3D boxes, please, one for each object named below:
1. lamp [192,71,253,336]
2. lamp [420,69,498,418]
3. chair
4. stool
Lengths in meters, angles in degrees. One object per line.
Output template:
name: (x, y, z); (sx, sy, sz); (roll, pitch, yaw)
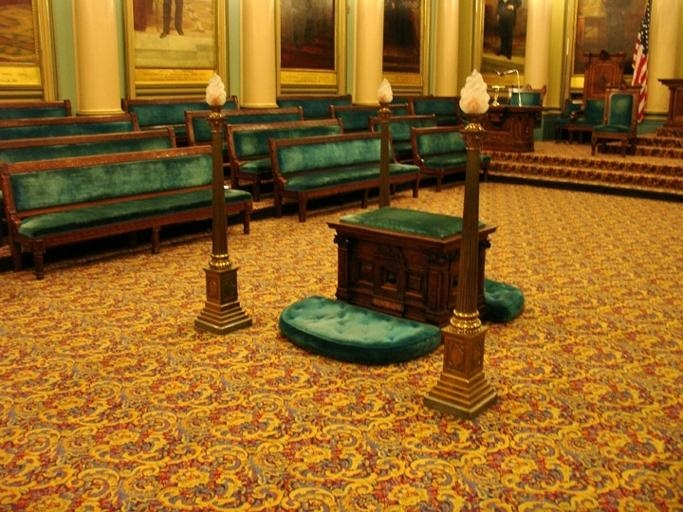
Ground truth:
lamp: (-0.956, -0.408, 3.730); (0.412, 1.797, 0.907); (-5, 20, -12)
lamp: (0.762, -0.103, 2.813); (0.370, 1.768, 0.972); (6, 21, 17)
chair: (5.412, -3.062, 11.565); (1.511, 2.460, 1.593); (-15, 21, -40)
stool: (0.557, 0.085, 3.964); (1.069, 0.673, 0.762); (11, 14, 43)
